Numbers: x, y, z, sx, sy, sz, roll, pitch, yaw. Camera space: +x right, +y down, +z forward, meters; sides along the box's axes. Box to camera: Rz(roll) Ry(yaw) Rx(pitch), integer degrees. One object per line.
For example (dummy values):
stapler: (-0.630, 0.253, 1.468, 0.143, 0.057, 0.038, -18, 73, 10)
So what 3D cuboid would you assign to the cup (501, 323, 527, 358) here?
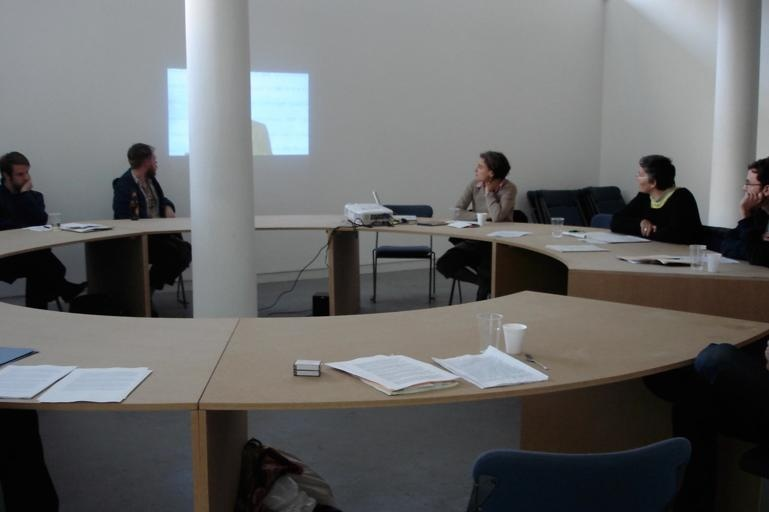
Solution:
cup: (0.572, 0.368, 2.670, 0.111, 0.130, 0.121, -1, 2, 0)

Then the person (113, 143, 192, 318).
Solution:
person: (-2.221, -0.301, 5.816, 0.672, 1.510, 0.646, 3, 8, 7)

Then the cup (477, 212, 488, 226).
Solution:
cup: (0.868, -0.337, 5.384, 0.089, 0.092, 0.105, -5, 5, -38)

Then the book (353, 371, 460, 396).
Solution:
book: (0.097, 0.513, 2.416, 0.397, 0.030, 0.103, 0, 15, 2)

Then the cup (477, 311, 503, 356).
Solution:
cup: (0.481, 0.329, 2.768, 0.126, 0.181, 0.139, 0, -17, 34)

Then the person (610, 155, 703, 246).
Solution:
person: (2.189, -0.426, 4.816, 0.445, 0.782, 0.723, -7, 5, -14)

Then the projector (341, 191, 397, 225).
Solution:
projector: (-0.186, -0.479, 5.976, 0.367, 0.180, 0.522, -3, 12, -11)
